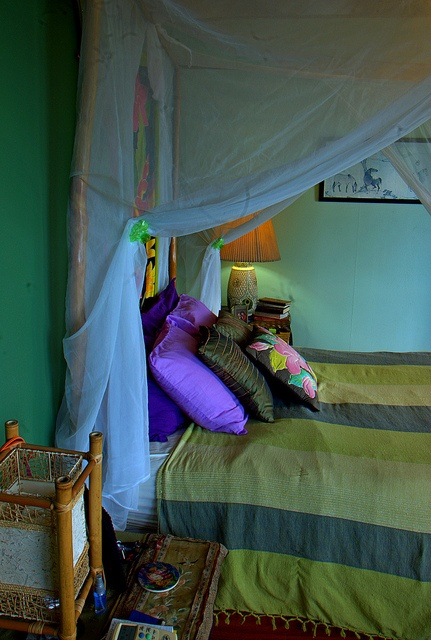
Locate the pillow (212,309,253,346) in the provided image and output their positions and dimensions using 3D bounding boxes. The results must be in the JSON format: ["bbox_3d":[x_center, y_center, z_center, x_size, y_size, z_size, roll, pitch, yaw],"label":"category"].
[{"bbox_3d":[0.087,0.013,2.189,0.141,0.043,0.141,36,22,-19],"label":"pillow"}]

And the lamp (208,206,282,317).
[{"bbox_3d":[0.217,-0.390,3.164,0.518,0.907,0.535,-1,4,-6],"label":"lamp"}]
